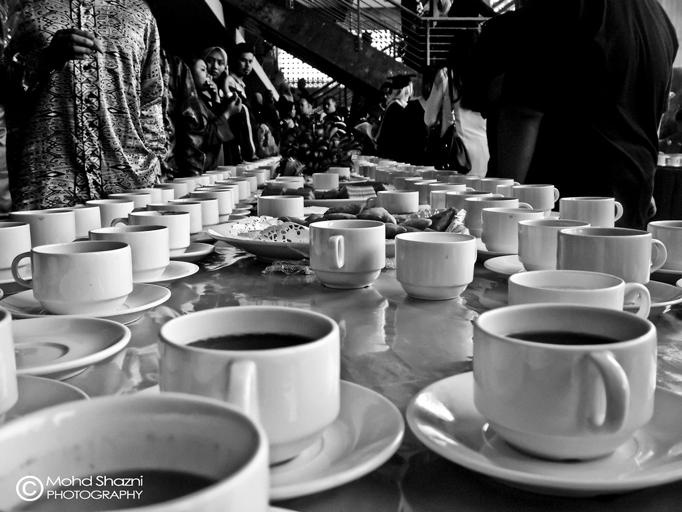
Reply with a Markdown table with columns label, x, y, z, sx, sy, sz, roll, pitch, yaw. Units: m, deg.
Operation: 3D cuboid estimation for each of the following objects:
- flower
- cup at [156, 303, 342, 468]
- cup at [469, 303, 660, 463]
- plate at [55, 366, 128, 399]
| label | x | y | z | sx | sy | sz | roll | pitch | yaw |
| --- | --- | --- | --- | --- | --- | --- | --- | --- | --- |
| flower | -0.198 | -0.666 | 3.377 | 0.506 | 0.354 | 0.516 | 10 | 10 | 34 |
| cup | -0.072 | 0.080 | 0.420 | 0.099 | 0.071 | 0.147 | 0 | 4 | -5 |
| cup | 0.190 | 0.084 | 0.453 | 0.141 | 0.087 | 0.109 | -3 | 5 | -40 |
| plate | -0.263 | 0.128 | 0.580 | 0.054 | 0.017 | 0.044 | 1 | 6 | -3 |
